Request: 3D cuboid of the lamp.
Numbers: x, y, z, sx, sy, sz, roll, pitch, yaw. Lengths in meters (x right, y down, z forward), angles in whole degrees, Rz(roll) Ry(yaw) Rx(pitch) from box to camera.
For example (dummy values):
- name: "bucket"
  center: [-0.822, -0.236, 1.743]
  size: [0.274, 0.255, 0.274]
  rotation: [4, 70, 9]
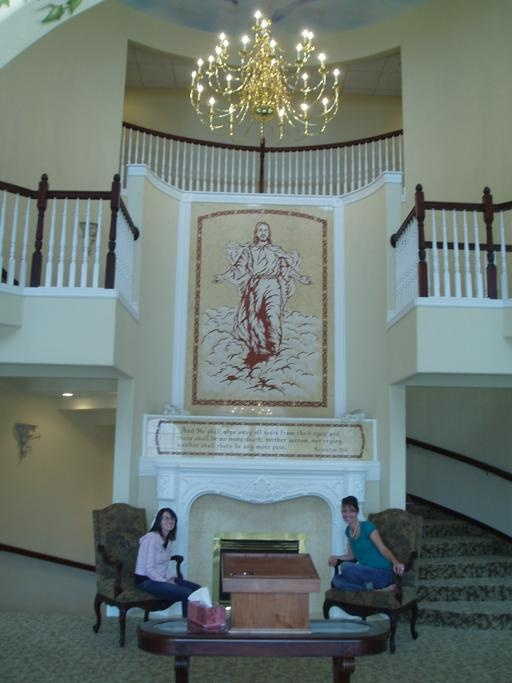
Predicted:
- name: "lamp"
  center: [0.132, -4.171, 9.052]
  size: [2.175, 1.911, 2.194]
  rotation: [1, 5, 22]

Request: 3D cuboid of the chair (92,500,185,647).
- name: "chair"
  center: [-1.004, 1.965, 5.255]
  size: [0.665, 1.058, 0.684]
  rotation: [7, -10, -33]

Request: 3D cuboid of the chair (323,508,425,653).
- name: "chair"
  center: [1.029, 1.952, 5.128]
  size: [0.638, 1.041, 0.723]
  rotation: [5, -11, -43]

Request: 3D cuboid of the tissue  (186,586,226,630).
- name: "tissue "
  center: [-0.272, 1.456, 3.253]
  size: [0.110, 0.127, 0.190]
  rotation: [11, -14, -35]

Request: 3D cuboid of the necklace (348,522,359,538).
- name: "necklace"
  center: [0.821, 1.561, 5.076]
  size: [0.078, 0.125, 0.123]
  rotation: [-6, 14, -1]

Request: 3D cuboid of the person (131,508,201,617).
- name: "person"
  center: [-0.666, 1.871, 4.865]
  size: [0.581, 0.978, 0.384]
  rotation: [-5, -16, 19]
